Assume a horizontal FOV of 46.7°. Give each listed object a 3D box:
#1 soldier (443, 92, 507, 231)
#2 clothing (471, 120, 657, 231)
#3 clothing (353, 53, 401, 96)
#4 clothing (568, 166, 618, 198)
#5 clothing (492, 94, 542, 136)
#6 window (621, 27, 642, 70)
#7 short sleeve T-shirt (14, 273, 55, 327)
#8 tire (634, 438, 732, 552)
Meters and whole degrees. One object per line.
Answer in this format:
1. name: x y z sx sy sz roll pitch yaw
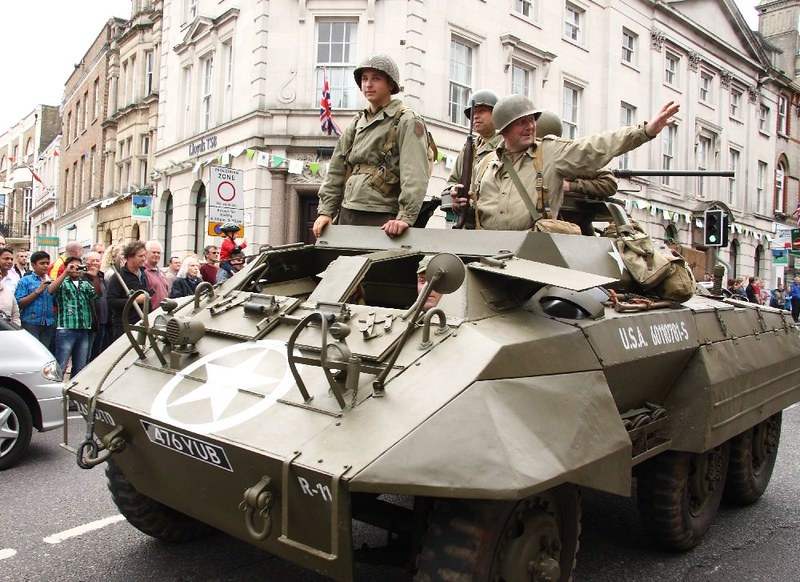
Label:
1. soldier: 0.744 -1.527 9.396 0.375 2.031 0.674 4 13 0
2. clothing: 1.323 -0.994 8.272 1.440 0.918 0.561 4 9 14
3. clothing: -0.220 -2.018 8.583 0.444 0.396 0.424 -11 18 -32
4. clothing: 1.832 -1.027 8.945 0.378 0.182 0.299 -2 4 -17
5. clothing: 1.020 -1.572 8.268 0.390 0.336 0.233 2 8 3
6. window: 6.309 -6.713 25.770 0.088 0.840 0.779 -14 28 -27
7. short sleeve T-shirt: -4.510 0.134 11.468 0.337 0.668 0.539 -5 -1 41
8. tire: 2.415 1.764 8.056 0.816 0.959 0.271 7 2 -32
